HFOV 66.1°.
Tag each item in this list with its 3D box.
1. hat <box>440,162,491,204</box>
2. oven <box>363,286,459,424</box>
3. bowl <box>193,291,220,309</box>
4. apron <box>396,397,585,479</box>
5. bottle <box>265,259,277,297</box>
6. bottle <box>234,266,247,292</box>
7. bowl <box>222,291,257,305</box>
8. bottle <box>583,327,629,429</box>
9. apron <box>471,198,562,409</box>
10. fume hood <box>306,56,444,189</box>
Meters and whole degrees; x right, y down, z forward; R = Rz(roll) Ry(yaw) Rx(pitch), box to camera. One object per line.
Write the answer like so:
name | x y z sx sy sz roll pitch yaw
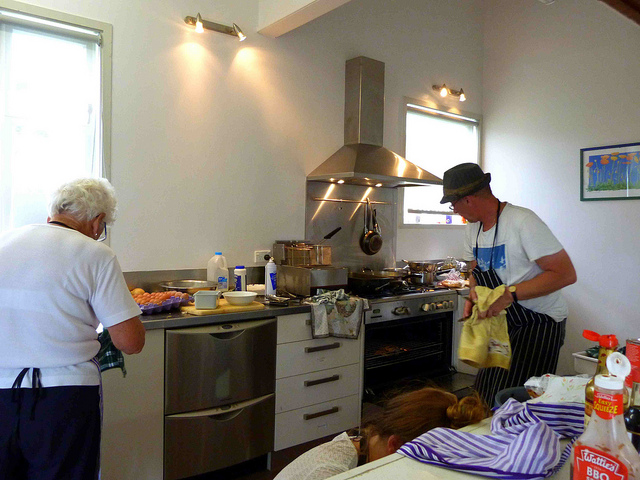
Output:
hat | 0.769 -0.328 2.664 0.318 0.159 0.272 -18 15 19
oven | 0.579 0.740 3.334 0.818 0.774 0.391 -3 2 -39
bowl | -0.701 0.366 3.027 0.144 0.102 0.099 0 4 -4
apron | 0.513 0.546 1.341 0.278 0.079 0.259 0 -4 -33
bottle | -0.363 0.276 3.599 0.088 0.231 0.286 0 4 -6
bottle | -0.581 0.277 3.571 0.091 0.178 0.313 0 4 -9
bowl | -0.514 0.379 3.232 0.191 0.084 0.210 1 4 0
bottle | 0.781 0.417 1.353 0.120 0.317 0.105 -2 -8 43
apron | 1.076 0.408 2.621 0.332 1.085 0.345 -15 34 -18
fume hood | 0.400 -1.016 4.317 1.021 1.071 1.152 4 5 45
